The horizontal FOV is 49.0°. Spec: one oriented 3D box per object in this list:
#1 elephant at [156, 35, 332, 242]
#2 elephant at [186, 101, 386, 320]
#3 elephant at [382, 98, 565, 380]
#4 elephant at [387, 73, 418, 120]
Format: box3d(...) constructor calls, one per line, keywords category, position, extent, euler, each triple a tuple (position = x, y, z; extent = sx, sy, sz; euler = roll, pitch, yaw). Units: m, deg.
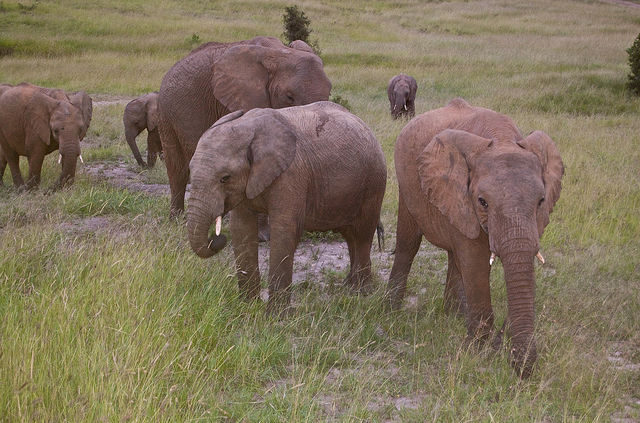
box3d(category="elephant", position=(-1.515, -1.539, 12.830), extent=(3.310, 3.182, 2.096), euler=(2, 19, 21))
box3d(category="elephant", position=(-0.374, -0.041, 10.342), extent=(3.406, 3.056, 1.545), euler=(-7, 14, -33))
box3d(category="elephant", position=(2.101, 0.133, 10.018), extent=(1.645, 3.492, 3.772), euler=(-4, 13, -11))
box3d(category="elephant", position=(2.574, -3.501, 21.542), extent=(0.924, 1.350, 2.199), euler=(3, 13, 14))
